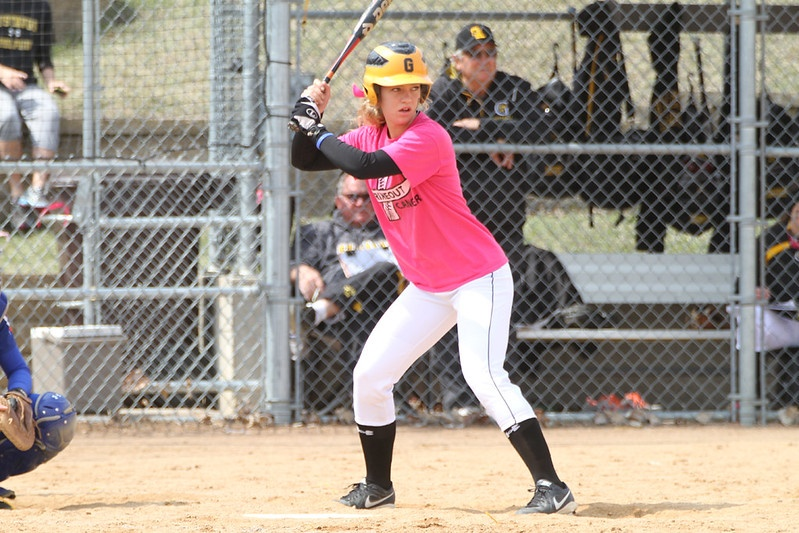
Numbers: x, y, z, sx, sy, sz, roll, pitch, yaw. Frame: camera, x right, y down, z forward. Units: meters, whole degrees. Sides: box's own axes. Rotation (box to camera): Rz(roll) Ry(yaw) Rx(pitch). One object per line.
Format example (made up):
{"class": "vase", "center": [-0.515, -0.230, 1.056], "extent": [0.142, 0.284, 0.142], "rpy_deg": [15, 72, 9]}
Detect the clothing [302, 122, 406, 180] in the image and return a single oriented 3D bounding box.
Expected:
{"class": "clothing", "center": [-0.333, -0.685, 8.720], "extent": [0.715, 0.290, 0.262], "rpy_deg": [12, 17, 39]}

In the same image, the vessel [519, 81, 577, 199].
{"class": "vessel", "center": [1.113, -0.952, 10.865], "extent": [0.478, 0.849, 0.209], "rpy_deg": [-2, 9, -25]}

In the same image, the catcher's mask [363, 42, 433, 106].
{"class": "catcher's mask", "center": [-0.035, -1.159, 8.679], "extent": [0.315, 0.301, 0.391], "rpy_deg": [0, 2, -18]}

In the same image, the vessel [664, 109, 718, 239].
{"class": "vessel", "center": [2.208, -0.686, 10.908], "extent": [0.326, 1.011, 0.529], "rpy_deg": [3, 13, 11]}
